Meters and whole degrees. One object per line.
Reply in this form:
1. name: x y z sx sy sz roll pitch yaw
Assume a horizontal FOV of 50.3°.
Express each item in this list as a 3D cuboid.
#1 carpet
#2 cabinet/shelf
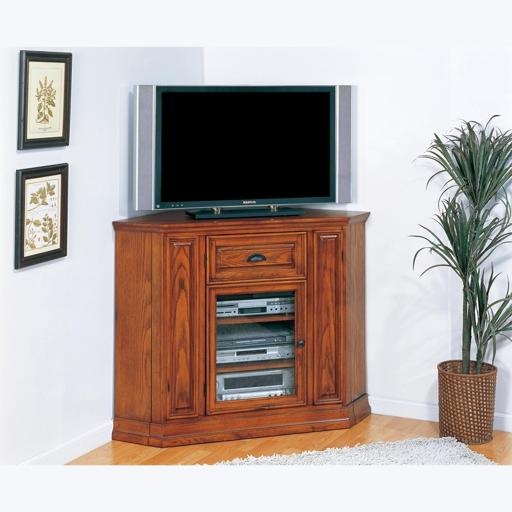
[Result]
1. carpet: 0.500 0.889 2.499 1.119 0.090 0.270 0 -11 -1
2. cabinet/shelf: -0.039 0.357 2.866 1.345 1.087 0.435 -1 0 -17
